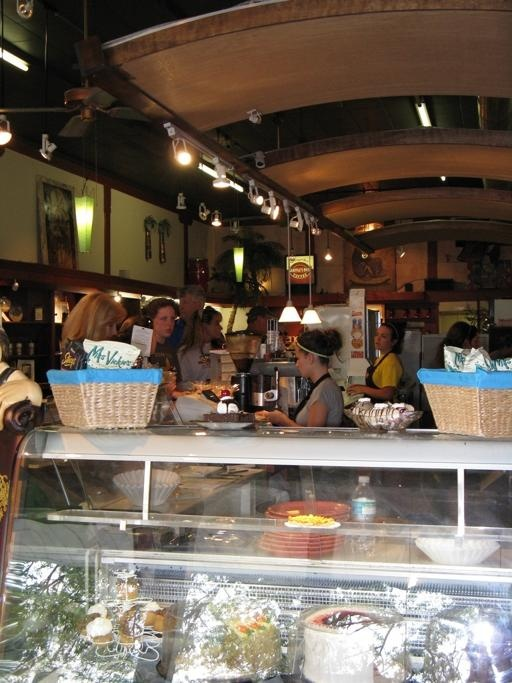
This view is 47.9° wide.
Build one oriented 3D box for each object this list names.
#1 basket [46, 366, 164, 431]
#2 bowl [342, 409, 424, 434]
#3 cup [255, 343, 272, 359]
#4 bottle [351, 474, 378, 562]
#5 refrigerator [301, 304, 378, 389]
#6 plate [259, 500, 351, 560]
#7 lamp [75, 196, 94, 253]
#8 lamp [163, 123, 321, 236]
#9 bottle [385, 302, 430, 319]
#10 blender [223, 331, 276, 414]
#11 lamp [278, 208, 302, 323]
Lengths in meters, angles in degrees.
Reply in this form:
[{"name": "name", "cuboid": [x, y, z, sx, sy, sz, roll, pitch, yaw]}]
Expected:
[{"name": "basket", "cuboid": [-0.382, 0.148, 1.611, 0.334, 0.161, 0.237, 1, -5, 12]}, {"name": "bowl", "cuboid": [0.347, 0.225, 1.670, 0.174, 0.050, 0.081, -3, -5, 33]}, {"name": "cup", "cuboid": [0.085, 0.105, 6.146, 0.156, 0.193, 0.211, 0, -1, 7]}, {"name": "bottle", "cuboid": [0.253, 0.399, 1.332, 0.078, 0.191, 0.073, 3, -18, 1]}, {"name": "refrigerator", "cuboid": [1.077, -0.088, 7.088, 0.634, 0.933, 0.584, 2, 22, 8]}, {"name": "plate", "cuboid": [0.118, 0.435, 1.314, 0.151, 0.060, 0.153, 0, -1, 4]}, {"name": "lamp", "cuboid": [-2.193, -1.519, 7.376, 0.200, 0.705, 0.375, -4, 8, -14]}, {"name": "lamp", "cuboid": [-0.271, -2.278, 8.062, 0.349, 0.348, 2.759, -20, -15, 22]}, {"name": "bottle", "cuboid": [3.619, -0.716, 13.716, 1.117, 0.389, 0.366, 0, 7, 12]}, {"name": "blender", "cuboid": [-0.129, 0.333, 4.543, 0.340, 0.733, 0.356, 2, -4, 16]}, {"name": "lamp", "cuboid": [0.436, -1.006, 7.827, 0.353, 1.426, 0.317, 1, -5, 4]}]
